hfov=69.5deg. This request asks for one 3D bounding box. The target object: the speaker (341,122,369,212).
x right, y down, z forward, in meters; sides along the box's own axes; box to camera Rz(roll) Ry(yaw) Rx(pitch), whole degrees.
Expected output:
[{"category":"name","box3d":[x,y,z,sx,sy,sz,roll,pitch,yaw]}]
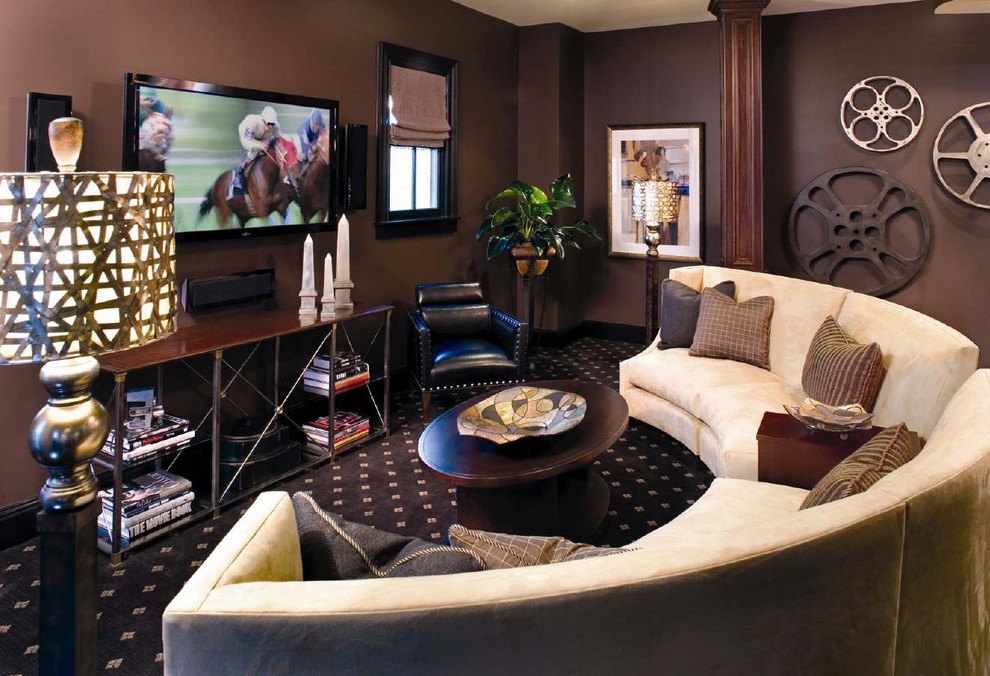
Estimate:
[{"category":"speaker","box3d":[-1.035,-1.217,5.126,0.172,0.466,0.249,17,21,39]}]

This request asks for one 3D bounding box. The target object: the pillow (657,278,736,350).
[{"category":"pillow","box3d":[1.371,-0.149,4.821,0.437,0.448,0.157,3,-8,40]}]

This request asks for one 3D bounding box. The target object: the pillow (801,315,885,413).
[{"category":"pillow","box3d":[1.790,0.168,3.819,0.215,0.421,0.589,3,21,2]}]

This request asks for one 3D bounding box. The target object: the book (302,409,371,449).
[{"category":"book","box3d":[-1.011,0.564,4.693,0.224,0.097,0.307,8,9,35]}]

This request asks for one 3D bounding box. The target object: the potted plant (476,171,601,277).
[{"category":"potted plant","box3d":[0.408,-1.071,6.514,1.033,0.787,0.961,2,15,8]}]

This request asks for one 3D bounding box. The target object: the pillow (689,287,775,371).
[{"category":"pillow","box3d":[1.542,-0.061,4.664,0.475,0.436,0.229,9,9,28]}]

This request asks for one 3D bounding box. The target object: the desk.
[{"category":"desk","box3d":[-1.385,0.423,4.344,0.462,0.926,1.797,4,8,41]}]

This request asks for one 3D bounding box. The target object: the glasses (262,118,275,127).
[{"category":"glasses","box3d":[-1.419,-1.337,4.456,0.052,0.044,0.070,-7,14,-29]}]

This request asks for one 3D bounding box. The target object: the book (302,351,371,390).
[{"category":"book","box3d":[-1.021,0.191,4.693,0.231,0.116,0.330,7,12,28]}]
